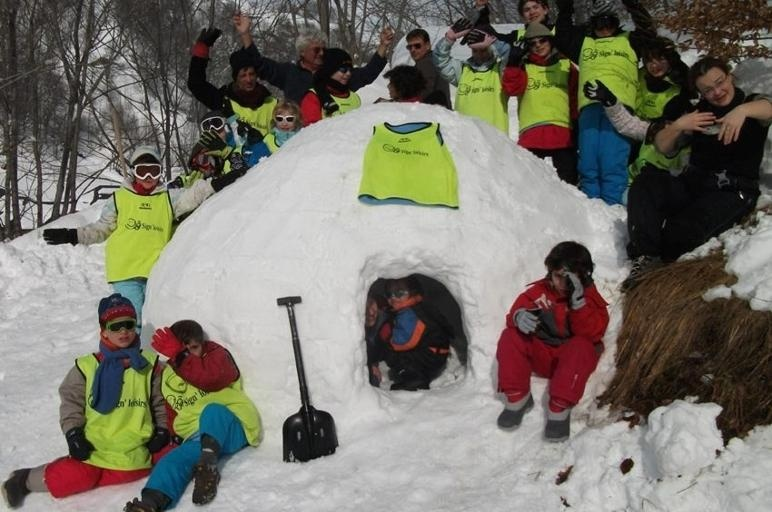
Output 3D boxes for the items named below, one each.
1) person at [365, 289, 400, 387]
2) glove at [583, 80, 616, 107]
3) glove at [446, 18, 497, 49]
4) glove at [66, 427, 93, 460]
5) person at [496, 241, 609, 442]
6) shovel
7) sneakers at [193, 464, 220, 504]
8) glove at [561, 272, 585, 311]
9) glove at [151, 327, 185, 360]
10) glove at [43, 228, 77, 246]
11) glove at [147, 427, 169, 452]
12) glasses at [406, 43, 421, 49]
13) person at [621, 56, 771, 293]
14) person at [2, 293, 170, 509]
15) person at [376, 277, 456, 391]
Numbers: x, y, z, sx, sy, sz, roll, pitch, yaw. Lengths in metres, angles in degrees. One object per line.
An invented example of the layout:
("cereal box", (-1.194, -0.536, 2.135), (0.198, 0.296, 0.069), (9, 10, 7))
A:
("person", (-0.035, 0.835, 7.815), (0.301, 0.516, 0.782), (10, -27, 22))
("glove", (2.073, -1.574, 7.825), (0.207, 0.311, 0.093), (-41, -6, -17))
("glove", (0.891, -2.292, 8.418), (0.492, 0.150, 0.382), (-19, 57, -41))
("glove", (-2.488, 1.550, 6.489), (0.195, 0.254, 0.097), (-13, -9, -39))
("person", (1.408, 0.647, 6.713), (0.884, 0.826, 1.768), (8, 36, 22))
("shovel", (-0.665, 1.025, 6.715), (0.462, 1.316, 0.493), (-3, 6, -8))
("sneakers", (-1.425, 1.822, 6.312), (0.210, 0.279, 0.167), (-4, 6, -14))
("glove", (1.517, 0.292, 6.460), (0.201, 0.287, 0.108), (-13, 2, -19))
("glove", (-1.875, 0.715, 6.711), (0.259, 0.225, 0.072), (-5, 35, 27))
("glove", (-3.139, -0.187, 7.709), (0.299, 0.165, 0.269), (-5, 7, -23))
("glove", (-1.902, 1.554, 6.680), (0.146, 0.182, 0.063), (32, -19, 1))
("glasses", (0.314, -2.378, 9.000), (0.101, 0.035, 0.103), (1, 1, 13))
("person", (2.708, -0.781, 6.965), (1.171, 1.860, 0.388), (0, 6, 16))
("person", (-2.654, 1.356, 7.093), (1.475, 1.426, 0.493), (-7, -2, -31))
("person", (0.242, 0.741, 7.706), (0.719, 1.005, 0.824), (-1, 6, 10))
